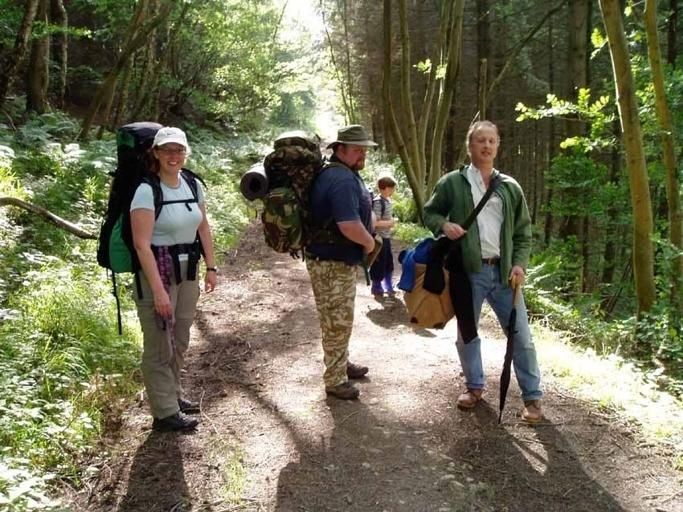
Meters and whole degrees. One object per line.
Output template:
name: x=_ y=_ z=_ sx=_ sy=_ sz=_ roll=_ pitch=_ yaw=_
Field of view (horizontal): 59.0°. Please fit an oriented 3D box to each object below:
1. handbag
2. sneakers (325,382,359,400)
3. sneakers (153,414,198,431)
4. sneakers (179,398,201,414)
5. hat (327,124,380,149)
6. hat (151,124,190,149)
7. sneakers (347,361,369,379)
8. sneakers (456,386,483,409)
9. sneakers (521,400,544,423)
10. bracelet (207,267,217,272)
handbag: x=1.099 y=0.421 z=6.965 sx=0.756 sy=0.931 sz=0.618 roll=-1 pitch=-1 yaw=-34
sneakers: x=0.012 y=1.530 z=6.947 sx=0.342 sy=0.229 sz=0.182 roll=-1 pitch=4 yaw=17
sneakers: x=-1.739 y=1.768 z=6.524 sx=0.507 sy=0.230 sz=0.183 roll=0 pitch=11 yaw=-6
sneakers: x=-1.710 y=1.673 z=6.784 sx=0.308 sy=0.128 sz=0.101 roll=8 pitch=19 yaw=-25
hat: x=0.126 y=-1.300 z=6.588 sx=0.539 sy=0.218 sz=0.461 roll=3 pitch=16 yaw=13
hat: x=-1.755 y=-1.199 z=6.156 sx=0.243 sy=0.186 sz=0.322 roll=0 pitch=6 yaw=-23
sneakers: x=0.183 y=1.404 z=7.341 sx=0.327 sy=0.162 sz=0.119 roll=-2 pitch=4 yaw=4
sneakers: x=1.411 y=1.584 z=6.707 sx=0.151 sy=0.145 sz=0.322 roll=-8 pitch=-14 yaw=38
sneakers: x=2.038 y=1.670 z=6.451 sx=0.148 sy=0.141 sz=0.320 roll=-3 pitch=-9 yaw=10
bracelet: x=-1.421 y=0.148 z=6.642 sx=0.095 sy=0.052 sz=0.094 roll=1 pitch=2 yaw=2
